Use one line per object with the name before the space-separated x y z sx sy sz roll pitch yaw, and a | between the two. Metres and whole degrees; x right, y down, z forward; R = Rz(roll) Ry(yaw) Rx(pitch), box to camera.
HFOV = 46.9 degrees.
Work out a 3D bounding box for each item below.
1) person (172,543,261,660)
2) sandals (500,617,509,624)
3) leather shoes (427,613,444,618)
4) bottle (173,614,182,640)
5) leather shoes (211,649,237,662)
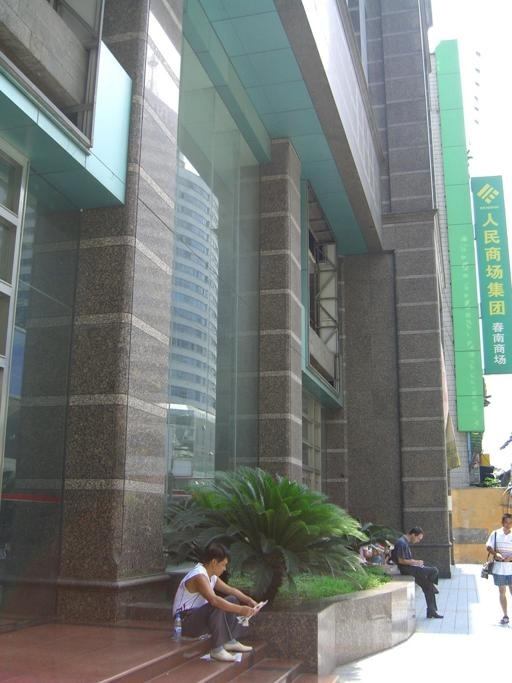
person | -0.297 2.026 4.614 0.659 0.790 0.461 -2 -16 13
sandals | 3.653 4.125 8.747 0.062 0.075 0.182 16 -18 -29
leather shoes | 2.869 4.395 9.479 0.259 0.086 0.138 -8 -16 13
bottle | -0.595 2.157 4.475 0.059 0.164 0.125 -2 -16 -8
leather shoes | -0.245 2.307 4.358 0.144 0.058 0.076 -3 -16 15
